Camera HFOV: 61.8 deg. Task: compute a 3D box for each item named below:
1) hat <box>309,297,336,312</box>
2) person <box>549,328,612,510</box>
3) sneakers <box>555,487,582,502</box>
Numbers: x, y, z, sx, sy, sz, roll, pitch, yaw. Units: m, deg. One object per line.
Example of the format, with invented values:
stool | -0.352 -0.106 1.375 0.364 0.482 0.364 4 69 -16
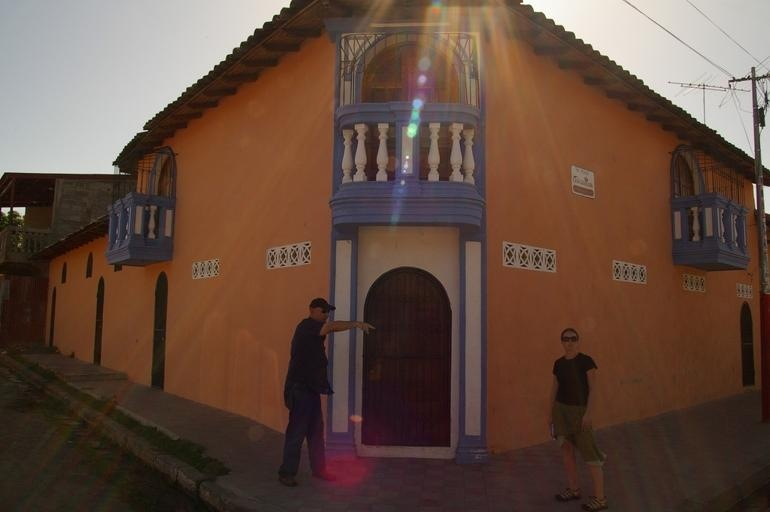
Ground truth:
hat | -1.106 0.872 11.561 0.367 0.242 0.261 6 -6 1
person | 3.279 2.685 10.884 0.919 2.914 0.819 3 6 16
sneakers | 3.135 4.061 11.009 0.386 0.220 0.195 1 -8 0
